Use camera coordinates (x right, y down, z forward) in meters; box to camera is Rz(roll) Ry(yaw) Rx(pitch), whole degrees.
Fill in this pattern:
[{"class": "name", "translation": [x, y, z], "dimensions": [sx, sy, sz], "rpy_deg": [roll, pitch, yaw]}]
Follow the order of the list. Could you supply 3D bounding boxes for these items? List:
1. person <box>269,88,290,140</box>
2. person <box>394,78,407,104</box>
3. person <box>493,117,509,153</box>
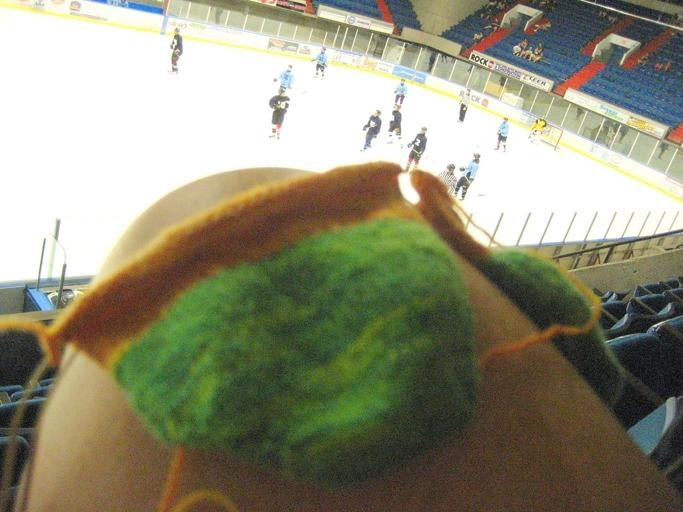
[{"class": "person", "translation": [-1.548, -3.604, 12.225], "dimensions": [0.442, 1.457, 1.555], "rpy_deg": [-2, -7, -7]}, {"class": "person", "translation": [2.210, -6.136, 18.623], "dimensions": [0.398, 0.887, 1.567], "rpy_deg": [-4, -7, 6]}, {"class": "person", "translation": [5.452, -4.030, 16.877], "dimensions": [0.452, 1.062, 1.681], "rpy_deg": [-5, -7, 18]}]
